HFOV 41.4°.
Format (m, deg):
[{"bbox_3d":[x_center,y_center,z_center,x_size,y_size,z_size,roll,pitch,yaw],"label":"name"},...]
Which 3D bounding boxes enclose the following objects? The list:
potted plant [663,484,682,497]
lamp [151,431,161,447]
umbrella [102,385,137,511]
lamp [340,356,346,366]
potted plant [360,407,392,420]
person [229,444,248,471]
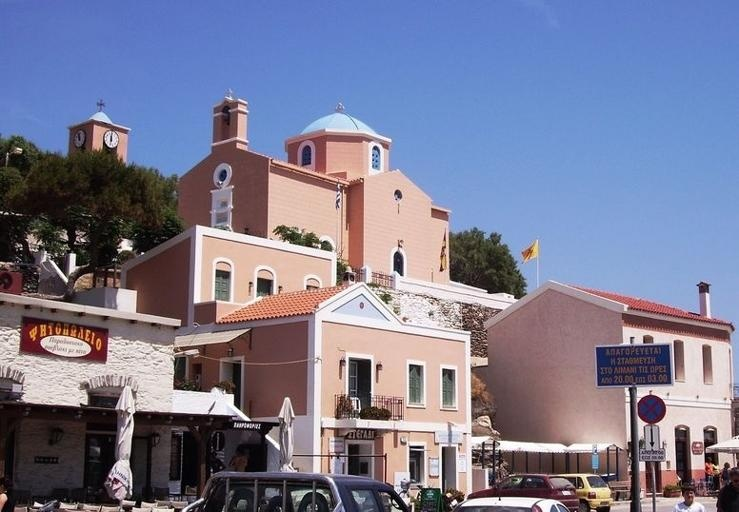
[{"bbox_3d":[15.696,12.105,51.017,0.736,0.540,0.619,9,-15,-35],"label":"potted plant"},{"bbox_3d":[-8.027,6.780,36.679,0.438,0.659,0.411,2,-13,-20],"label":"lamp"},{"bbox_3d":[-8.184,6.020,32.295,0.721,3.600,0.945,3,-14,-9],"label":"umbrella"},{"bbox_3d":[-1.187,4.496,42.329,0.296,0.449,0.153,9,-16,-39],"label":"lamp"},{"bbox_3d":[0.282,6.742,42.386,1.392,0.635,0.654,9,-17,-26],"label":"potted plant"},{"bbox_3d":[-5.382,8.231,40.008,0.675,1.032,2.408,2,-3,-1],"label":"person"}]
